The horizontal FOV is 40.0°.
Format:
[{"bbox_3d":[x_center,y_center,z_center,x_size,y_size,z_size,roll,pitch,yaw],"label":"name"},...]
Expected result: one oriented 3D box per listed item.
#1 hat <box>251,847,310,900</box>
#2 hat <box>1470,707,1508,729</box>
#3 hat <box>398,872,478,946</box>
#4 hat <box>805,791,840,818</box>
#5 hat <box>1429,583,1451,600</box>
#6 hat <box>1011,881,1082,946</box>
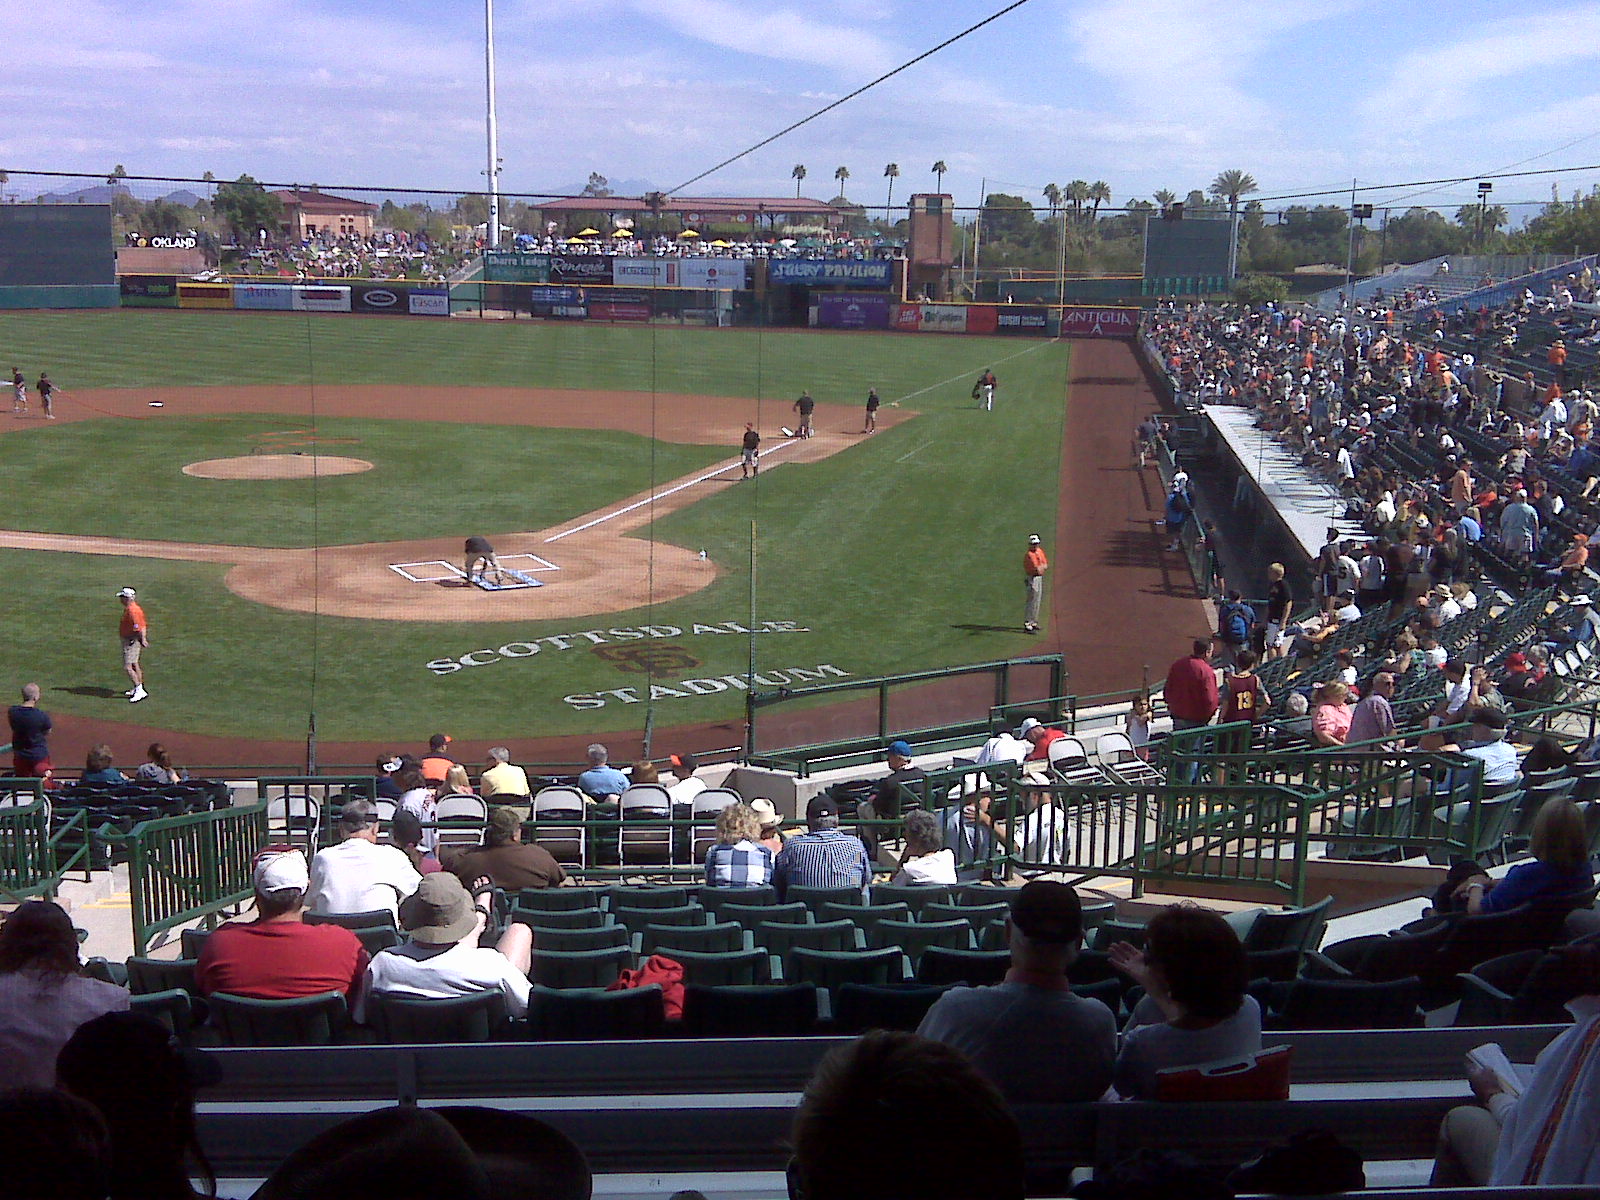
[{"bbox_3d":[-3.469,1.874,14.693,0.319,0.312,0.385,3,16,-3],"label":"hat"},{"bbox_3d":[5.908,1.034,18.791,0.227,0.231,0.256,8,-6,-17],"label":"hat"},{"bbox_3d":[-2.344,2.031,14.355,0.453,0.454,0.239,-3,-37,-18],"label":"hat"},{"bbox_3d":[0.186,1.667,17.616,0.223,0.219,0.238,4,-4,6],"label":"hat"},{"bbox_3d":[7.698,-0.069,26.365,0.235,0.057,0.231,-15,22,-40],"label":"hat"},{"bbox_3d":[1.451,1.855,12.964,0.408,0.336,0.277,2,7,2],"label":"hat"}]
